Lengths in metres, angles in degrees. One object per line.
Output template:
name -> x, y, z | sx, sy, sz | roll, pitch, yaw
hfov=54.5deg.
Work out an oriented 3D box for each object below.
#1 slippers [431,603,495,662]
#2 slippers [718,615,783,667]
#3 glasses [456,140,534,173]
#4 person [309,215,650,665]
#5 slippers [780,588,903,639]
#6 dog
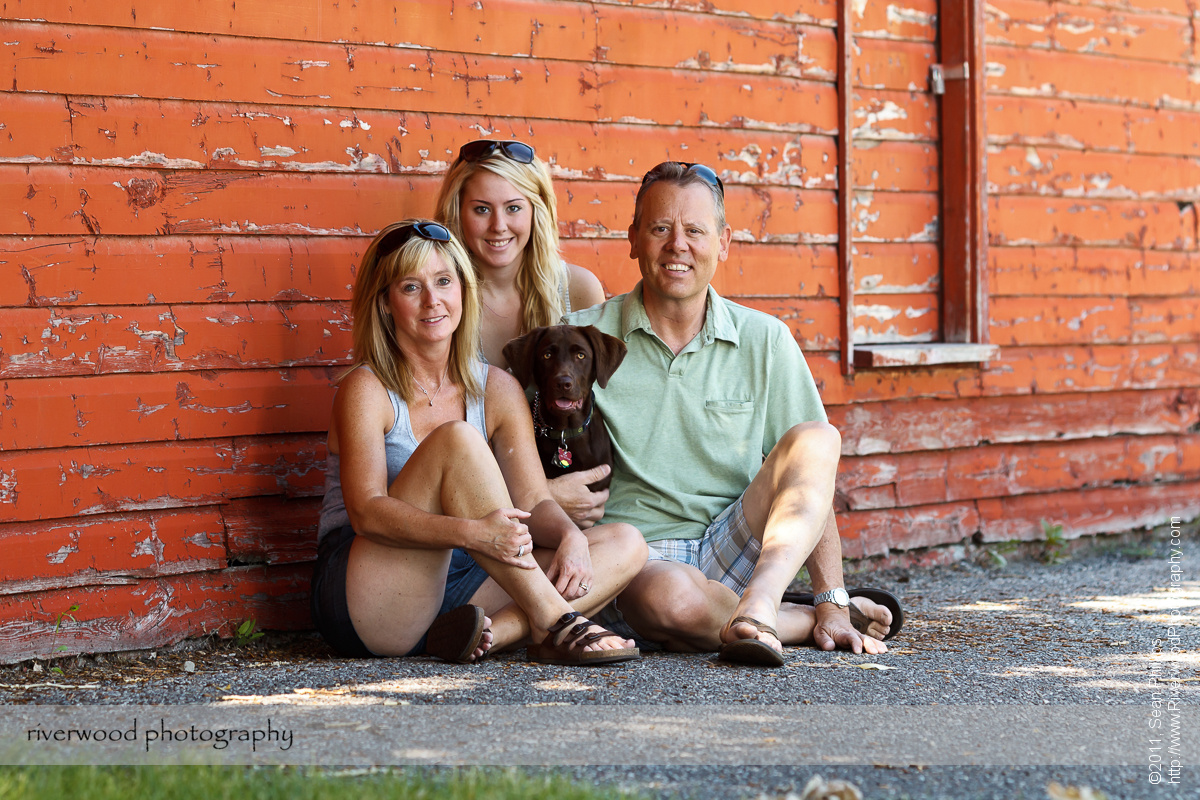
slippers -> -0.539, 0.893, 4.457 | 0.162, 0.122, 0.346 | -10, 0, -19
slippers -> 0.570, 0.912, 4.432 | 0.242, 0.216, 0.173 | 2, 7, 8
glasses -> -0.474, -1.106, 5.155 | 0.348, 0.118, 0.151 | 0, 7, -6
person -> -0.526, 0.169, 4.585 | 1.268, 1.745, 0.609 | 1, 8, 0
slippers -> 1.076, 0.854, 5.005 | 0.377, 0.098, 0.262 | 10, -34, 14
dog -> -0.147, 0.121, 5.363 | 0.550, 0.904, 1.173 | -1, 6, -2
